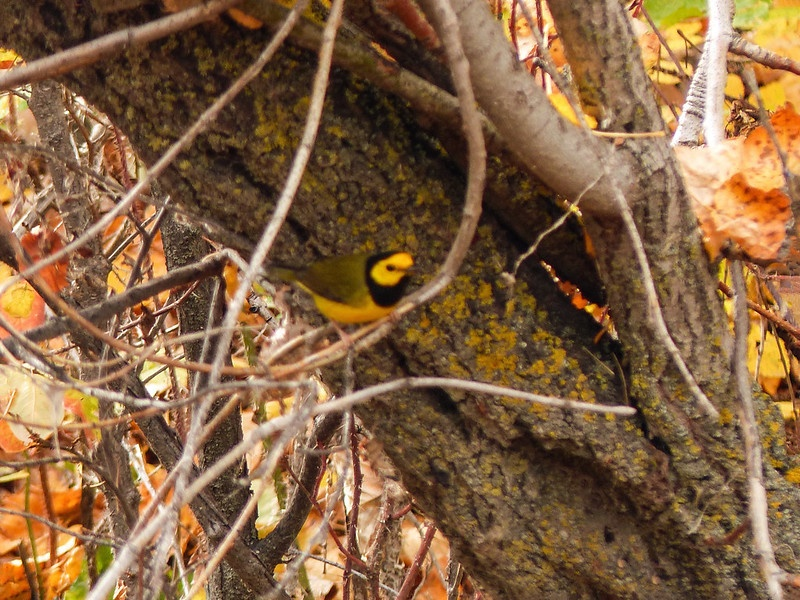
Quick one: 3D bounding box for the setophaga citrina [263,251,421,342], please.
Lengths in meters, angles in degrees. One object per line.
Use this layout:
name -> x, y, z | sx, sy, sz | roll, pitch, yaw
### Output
setophaga citrina -> -0.214, -0.072, 5.842 | 0.277, 0.820, 0.378 | -26, -62, -39
